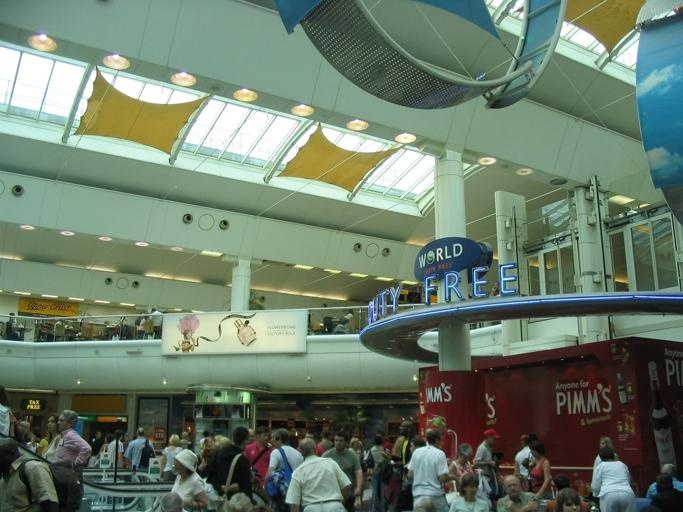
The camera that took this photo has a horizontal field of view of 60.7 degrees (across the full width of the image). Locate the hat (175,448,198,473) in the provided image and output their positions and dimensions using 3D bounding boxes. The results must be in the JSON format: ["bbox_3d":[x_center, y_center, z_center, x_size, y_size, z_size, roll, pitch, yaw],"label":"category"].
[{"bbox_3d":[-2.100,2.759,7.847,0.288,0.276,0.346,6,-17,-16],"label":"hat"}]

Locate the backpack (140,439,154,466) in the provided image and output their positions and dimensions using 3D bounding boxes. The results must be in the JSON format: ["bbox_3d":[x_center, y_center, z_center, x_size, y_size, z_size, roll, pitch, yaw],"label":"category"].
[{"bbox_3d":[-5.374,5.464,16.113,0.392,0.696,0.504,-9,-25,18],"label":"backpack"}]

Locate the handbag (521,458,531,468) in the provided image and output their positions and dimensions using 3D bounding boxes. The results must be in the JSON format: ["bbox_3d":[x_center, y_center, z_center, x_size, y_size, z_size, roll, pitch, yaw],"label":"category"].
[{"bbox_3d":[3.558,3.979,11.169,0.182,0.167,0.183,5,-12,-8],"label":"handbag"}]

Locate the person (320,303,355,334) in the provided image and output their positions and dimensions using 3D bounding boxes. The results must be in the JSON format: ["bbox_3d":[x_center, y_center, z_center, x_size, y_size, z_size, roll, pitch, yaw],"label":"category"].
[{"bbox_3d":[-0.133,2.683,23.842,1.268,1.130,0.890,-9,-12,21],"label":"person"}]

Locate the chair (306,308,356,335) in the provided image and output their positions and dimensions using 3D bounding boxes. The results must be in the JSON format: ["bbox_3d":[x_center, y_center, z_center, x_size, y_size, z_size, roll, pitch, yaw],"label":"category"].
[{"bbox_3d":[-0.273,2.625,24.672,2.051,1.032,1.253,0,4,4],"label":"chair"}]

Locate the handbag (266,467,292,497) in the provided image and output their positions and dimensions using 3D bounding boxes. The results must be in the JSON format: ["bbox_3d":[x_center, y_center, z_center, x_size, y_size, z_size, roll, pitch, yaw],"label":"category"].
[{"bbox_3d":[-0.977,3.568,9.220,0.374,0.438,0.201,2,-17,-4],"label":"handbag"}]
